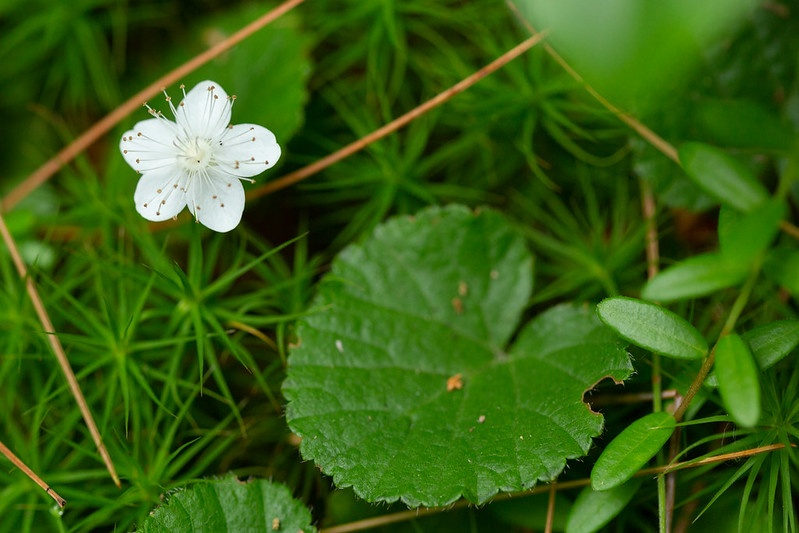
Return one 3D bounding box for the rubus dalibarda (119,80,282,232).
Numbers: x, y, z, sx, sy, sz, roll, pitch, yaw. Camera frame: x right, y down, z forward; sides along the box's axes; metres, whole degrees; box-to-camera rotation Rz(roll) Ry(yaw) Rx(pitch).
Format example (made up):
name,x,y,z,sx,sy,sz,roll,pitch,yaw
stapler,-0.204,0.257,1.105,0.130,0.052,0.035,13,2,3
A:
name,x,y,z,sx,sy,sz,roll,pitch,yaw
rubus dalibarda,-0.600,-0.316,2.425,0.457,0.447,0.167,-43,-7,8
